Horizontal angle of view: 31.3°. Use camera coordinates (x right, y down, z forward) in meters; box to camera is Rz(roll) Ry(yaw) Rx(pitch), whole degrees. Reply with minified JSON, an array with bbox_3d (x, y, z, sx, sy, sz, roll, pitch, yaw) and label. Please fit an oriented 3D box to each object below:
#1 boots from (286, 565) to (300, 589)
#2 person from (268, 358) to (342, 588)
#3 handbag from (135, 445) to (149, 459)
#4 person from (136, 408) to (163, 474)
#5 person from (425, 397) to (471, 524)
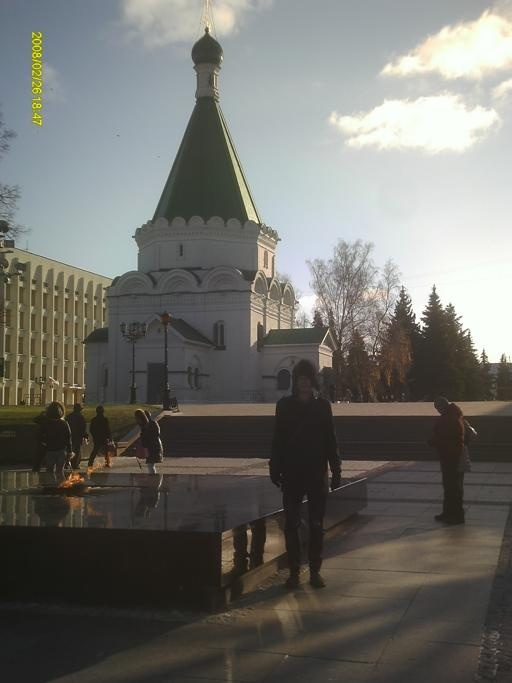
[{"bbox_3d":[0.255,1.654,6.438,0.104,0.126,0.197,0,-2,2],"label":"boots"},{"bbox_3d":[0.348,0.928,6.709,0.508,1.594,0.700,-1,-2,16],"label":"person"},{"bbox_3d":[-1.745,1.669,13.897,0.204,0.225,0.210,0,2,43],"label":"handbag"},{"bbox_3d":[-1.606,1.492,13.685,0.391,0.932,0.921,0,-2,-8],"label":"person"},{"bbox_3d":[2.057,1.223,9.541,0.429,1.249,1.041,0,-2,13],"label":"person"}]
